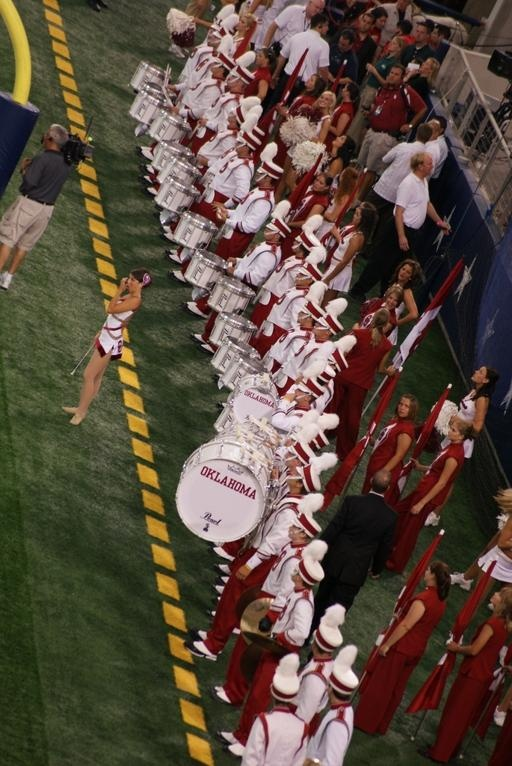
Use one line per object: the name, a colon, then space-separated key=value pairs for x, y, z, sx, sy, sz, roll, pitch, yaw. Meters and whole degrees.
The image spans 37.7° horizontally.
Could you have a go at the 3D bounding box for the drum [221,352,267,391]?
drum: x=-0.194 y=-0.087 z=7.831 sx=0.390 sy=0.401 sz=0.387 roll=32 pitch=19 yaw=5

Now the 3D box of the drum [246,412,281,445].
drum: x=0.037 y=0.372 z=5.679 sx=0.241 sy=0.102 sz=0.184 roll=51 pitch=29 yaw=7

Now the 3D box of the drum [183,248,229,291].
drum: x=-0.665 y=-1.391 z=9.516 sx=0.514 sy=0.466 sz=0.484 roll=33 pitch=1 yaw=-8

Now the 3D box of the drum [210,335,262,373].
drum: x=-0.260 y=-0.309 z=8.007 sx=0.445 sy=0.360 sz=0.405 roll=23 pitch=1 yaw=7

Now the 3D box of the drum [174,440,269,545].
drum: x=-0.228 y=0.669 z=5.334 sx=0.588 sy=0.601 sz=0.741 roll=-19 pitch=15 yaw=11

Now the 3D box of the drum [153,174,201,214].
drum: x=-1.156 y=-2.625 z=10.587 sx=0.498 sy=0.476 sz=0.469 roll=41 pitch=2 yaw=-21

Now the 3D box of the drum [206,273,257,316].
drum: x=-0.320 y=-1.008 z=9.082 sx=0.490 sy=0.378 sz=0.490 roll=32 pitch=5 yaw=-3

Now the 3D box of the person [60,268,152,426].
person: x=-1.439 y=-0.325 z=7.153 sx=0.456 sy=1.873 sz=1.376 roll=15 pitch=45 yaw=-9

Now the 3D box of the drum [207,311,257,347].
drum: x=-0.273 y=-0.638 z=8.584 sx=0.439 sy=0.314 sz=0.424 roll=22 pitch=10 yaw=-4

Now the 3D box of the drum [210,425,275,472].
drum: x=-0.078 y=0.524 z=5.346 sx=0.355 sy=0.325 sz=0.337 roll=14 pitch=13 yaw=9

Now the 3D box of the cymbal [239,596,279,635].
cymbal: x=-0.016 y=1.287 z=4.209 sx=0.218 sy=0.048 sz=0.214 roll=23 pitch=58 yaw=31

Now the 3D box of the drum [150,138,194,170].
drum: x=-1.328 y=-3.474 z=11.367 sx=0.597 sy=0.465 sz=0.562 roll=13 pitch=26 yaw=-6

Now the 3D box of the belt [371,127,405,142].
belt: x=2.455 y=-4.614 z=13.983 sx=0.287 sy=0.133 sz=0.323 roll=13 pitch=6 yaw=-17
